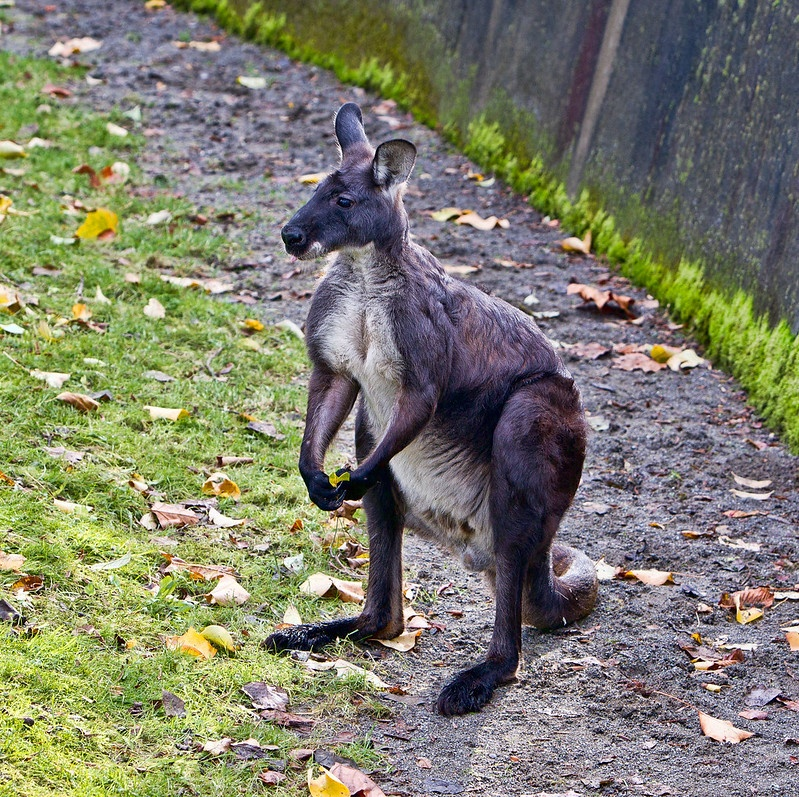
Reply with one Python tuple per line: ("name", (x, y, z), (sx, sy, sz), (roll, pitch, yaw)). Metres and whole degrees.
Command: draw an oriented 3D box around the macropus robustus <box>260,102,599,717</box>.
("macropus robustus", (0.056, 0.072, 4.491), (1.273, 1.371, 0.596), (21, 11, 7))
